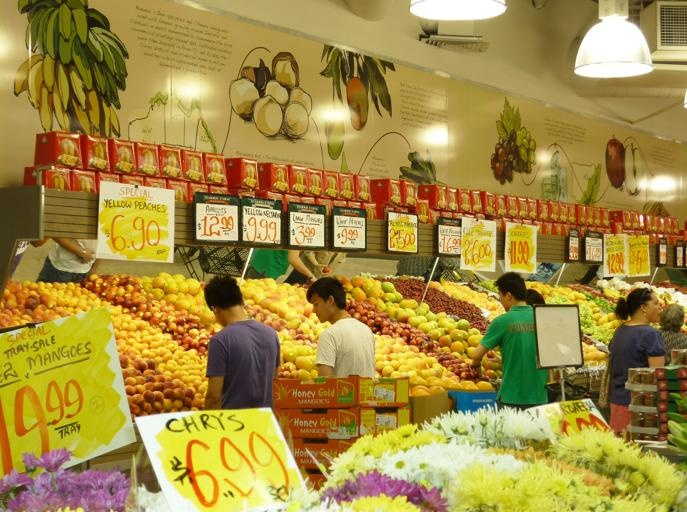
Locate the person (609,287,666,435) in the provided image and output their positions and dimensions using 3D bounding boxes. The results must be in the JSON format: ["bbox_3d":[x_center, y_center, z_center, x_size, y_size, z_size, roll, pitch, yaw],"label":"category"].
[{"bbox_3d":[2.356,0.830,4.568,0.394,1.013,0.690,5,4,25],"label":"person"}]

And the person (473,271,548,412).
[{"bbox_3d":[1.283,0.687,4.298,0.410,1.128,0.458,-2,10,-22],"label":"person"}]
